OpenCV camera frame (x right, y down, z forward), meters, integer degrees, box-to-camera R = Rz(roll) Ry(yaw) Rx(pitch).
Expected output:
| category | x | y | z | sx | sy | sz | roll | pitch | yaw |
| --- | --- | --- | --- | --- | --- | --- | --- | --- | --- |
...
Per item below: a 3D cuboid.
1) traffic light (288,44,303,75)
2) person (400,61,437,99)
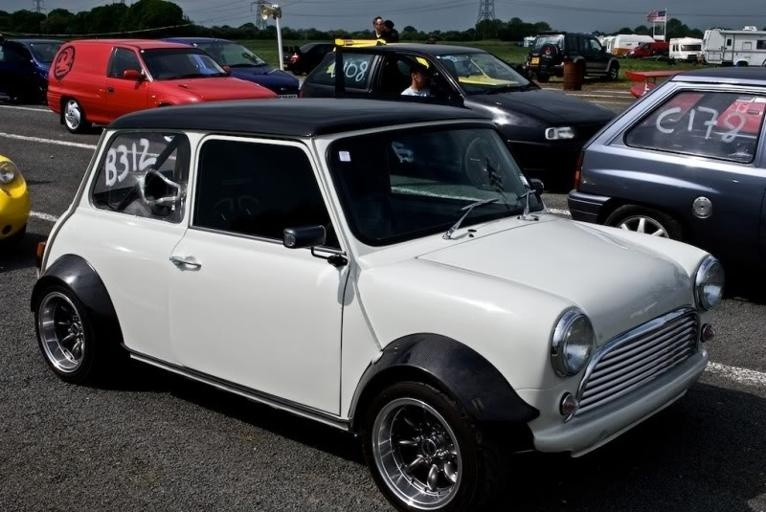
| category | x | y | z | sx | sy | sz | roll | pitch | yaw |
| --- | --- | --- | --- | --- | --- | --- | --- | --- | --- |
| traffic light | -5.649 | -12.968 | 34.800 | 0.978 | 1.634 | 0.503 | -2 | -7 | 12 |
| person | 0.643 | -3.344 | 10.006 | 0.380 | 0.613 | 0.747 | 11 | 17 | 25 |
